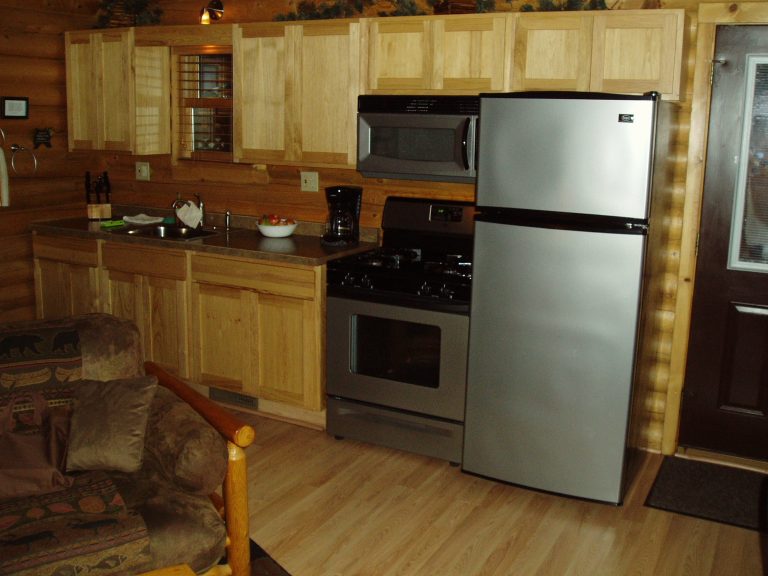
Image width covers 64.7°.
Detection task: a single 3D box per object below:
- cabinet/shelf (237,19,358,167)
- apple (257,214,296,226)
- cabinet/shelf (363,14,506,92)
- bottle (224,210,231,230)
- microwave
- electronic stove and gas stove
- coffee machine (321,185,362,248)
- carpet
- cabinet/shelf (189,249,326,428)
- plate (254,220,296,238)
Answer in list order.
[{"bbox_3d":[-0.451,-1.215,3.828,1.006,0.840,0.364,13,19,34],"label":"cabinet/shelf"},{"bbox_3d":[-0.719,-0.447,4.055,0.151,0.055,0.141,2,3,-5],"label":"apple"},{"bbox_3d":[0.249,-1.332,3.446,0.859,0.373,0.277,-8,23,-18],"label":"cabinet/shelf"},{"bbox_3d":[-1.114,-0.491,4.348,0.051,0.121,0.137,-4,15,-14],"label":"bottle"},{"bbox_3d":[0.241,-0.850,3.536,0.738,0.394,0.430,7,16,19],"label":"microwave"},{"bbox_3d":[0.324,-0.105,3.552,0.730,0.295,1.072,-3,1,-44],"label":"electronic stove and gas stove"},{"bbox_3d":[-0.255,-0.469,3.857,0.242,0.351,0.293,0,15,0],"label":"coffee machine"},{"bbox_3d":[1.698,1.066,3.158,0.477,0.016,0.412,0,10,28],"label":"carpet"},{"bbox_3d":[-0.588,0.198,4.064,1.030,0.894,1.001,9,15,29],"label":"cabinet/shelf"},{"bbox_3d":[-0.711,-0.398,4.039,0.241,0.101,0.198,-3,15,-12],"label":"plate"}]
